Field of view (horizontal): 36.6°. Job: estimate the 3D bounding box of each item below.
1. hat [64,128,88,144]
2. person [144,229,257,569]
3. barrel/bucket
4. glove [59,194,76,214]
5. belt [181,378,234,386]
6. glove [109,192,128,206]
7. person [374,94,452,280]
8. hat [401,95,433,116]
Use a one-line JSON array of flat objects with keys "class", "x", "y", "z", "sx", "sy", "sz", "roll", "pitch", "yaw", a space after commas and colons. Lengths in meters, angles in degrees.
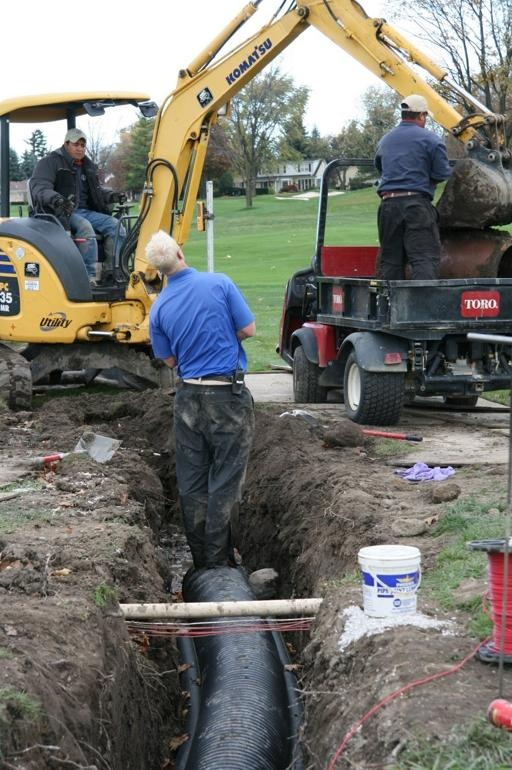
[{"class": "hat", "x": -1.990, "y": -2.767, "z": 8.570, "sx": 0.206, "sy": 0.214, "sz": 0.276, "roll": -1, "pitch": 5, "yaw": -5}, {"class": "person", "x": -0.355, "y": 0.152, "z": 5.187, "sx": 0.685, "sy": 2.312, "sz": 0.387, "roll": -1, "pitch": 6, "yaw": -7}, {"class": "barrel/bucket", "x": 0.589, "y": 0.870, "z": 3.402, "sx": 0.281, "sy": 0.251, "sz": 0.282, "roll": -1, "pitch": -4, "yaw": 0}, {"class": "glove", "x": -2.083, "y": -2.016, "z": 8.579, "sx": 0.158, "sy": 0.255, "sz": 0.529, "roll": -1, "pitch": 5, "yaw": -8}, {"class": "belt", "x": -0.319, "y": -0.017, "z": 5.046, "sx": 0.307, "sy": 0.041, "sz": 0.070, "roll": 1, "pitch": 5, "yaw": 17}, {"class": "glove", "x": -1.652, "y": -2.240, "z": 9.286, "sx": 0.145, "sy": 0.122, "sz": 0.170, "roll": 2, "pitch": 4, "yaw": 1}, {"class": "person", "x": 1.414, "y": -1.851, "z": 7.251, "sx": 0.698, "sy": 1.754, "sz": 0.419, "roll": 3, "pitch": 7, "yaw": 32}, {"class": "hat", "x": 1.519, "y": -2.644, "z": 7.280, "sx": 0.183, "sy": 0.125, "sz": 0.260, "roll": 18, "pitch": 28, "yaw": 35}]
